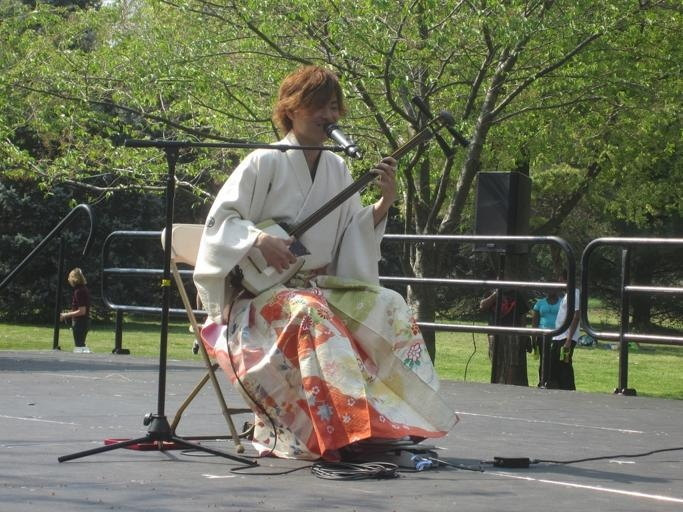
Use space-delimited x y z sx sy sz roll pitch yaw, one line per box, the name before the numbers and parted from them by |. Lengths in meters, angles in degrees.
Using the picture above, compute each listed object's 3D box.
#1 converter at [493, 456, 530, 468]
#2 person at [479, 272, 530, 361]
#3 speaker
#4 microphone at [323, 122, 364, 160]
converter | 1.529 1.834 11.701 0.337 0.094 0.096 0 -3 1
person | 2.133 0.854 16.882 0.522 1.264 0.355 -9 26 11
speaker | 1.786 -0.504 16.230 0.751 1.012 0.745 3 2 39
microphone | 0.027 -1.021 11.885 0.150 0.140 0.550 4 28 -29
